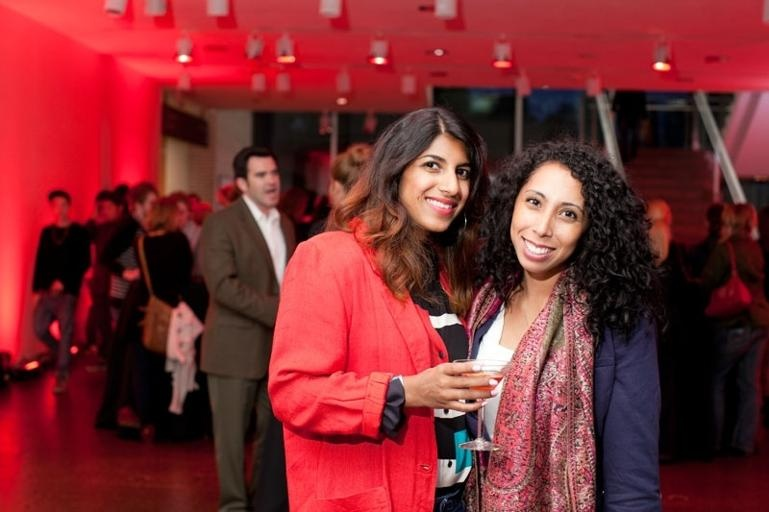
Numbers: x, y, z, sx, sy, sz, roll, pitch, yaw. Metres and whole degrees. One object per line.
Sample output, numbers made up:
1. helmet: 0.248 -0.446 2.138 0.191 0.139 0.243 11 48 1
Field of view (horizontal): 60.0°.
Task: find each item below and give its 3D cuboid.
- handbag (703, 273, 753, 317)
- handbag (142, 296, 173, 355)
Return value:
1. handbag: 2.501 0.297 4.845 0.331 0.328 0.146 2 8 2
2. handbag: -1.697 0.519 4.951 0.356 0.374 0.089 18 10 25
